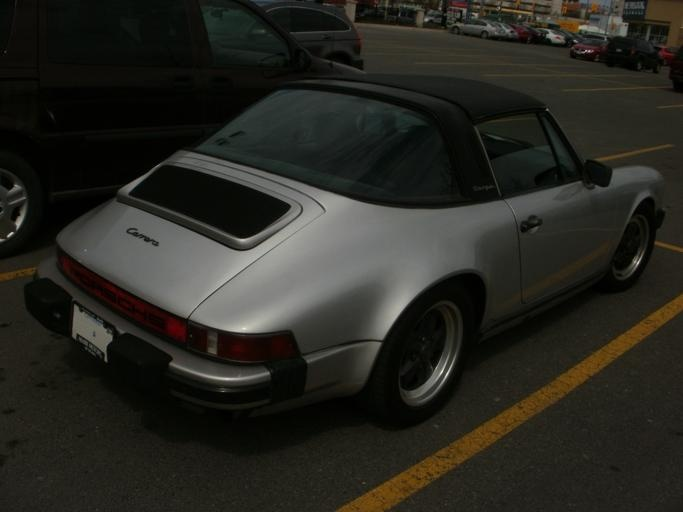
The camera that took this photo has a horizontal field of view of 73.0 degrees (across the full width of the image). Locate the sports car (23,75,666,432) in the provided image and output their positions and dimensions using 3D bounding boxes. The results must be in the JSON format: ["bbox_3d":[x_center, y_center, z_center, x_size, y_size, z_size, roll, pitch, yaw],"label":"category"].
[{"bbox_3d":[0.469,-0.245,3.041,3.682,1.224,2.010,-20,33,-38],"label":"sports car"}]
